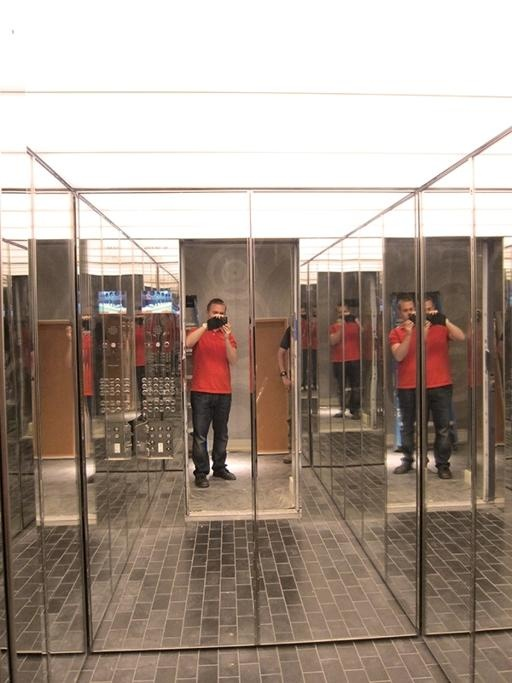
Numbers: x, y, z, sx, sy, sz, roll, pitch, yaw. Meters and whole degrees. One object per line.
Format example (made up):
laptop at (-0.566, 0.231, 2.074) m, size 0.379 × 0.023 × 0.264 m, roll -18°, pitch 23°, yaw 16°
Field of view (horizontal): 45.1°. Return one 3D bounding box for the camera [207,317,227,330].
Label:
camera at (-0.177, -0.073, 2.817) m, size 0.108 × 0.065 × 0.019 m, roll -4°, pitch -3°, yaw 34°

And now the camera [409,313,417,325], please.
camera at (0.704, -0.092, 2.778) m, size 0.030 × 0.071 × 0.036 m, roll 2°, pitch -3°, yaw -8°

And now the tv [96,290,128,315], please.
tv at (-0.686, -0.172, 2.950) m, size 0.023 × 0.116 × 0.246 m, roll -2°, pitch -2°, yaw 18°

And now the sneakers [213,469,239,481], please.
sneakers at (-0.138, 0.619, 2.873) m, size 0.117 × 0.063 × 0.045 m, roll -1°, pitch -2°, yaw 21°

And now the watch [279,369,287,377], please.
watch at (0.126, 0.154, 2.805) m, size 0.028 × 0.023 × 0.029 m, roll -5°, pitch -4°, yaw -13°

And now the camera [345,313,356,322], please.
camera at (0.484, -0.102, 3.188) m, size 0.049 × 0.042 × 0.031 m, roll 0°, pitch -4°, yaw 11°

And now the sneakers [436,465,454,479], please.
sneakers at (0.766, 0.533, 2.502) m, size 0.046 × 0.077 × 0.159 m, roll 0°, pitch -10°, yaw 3°
